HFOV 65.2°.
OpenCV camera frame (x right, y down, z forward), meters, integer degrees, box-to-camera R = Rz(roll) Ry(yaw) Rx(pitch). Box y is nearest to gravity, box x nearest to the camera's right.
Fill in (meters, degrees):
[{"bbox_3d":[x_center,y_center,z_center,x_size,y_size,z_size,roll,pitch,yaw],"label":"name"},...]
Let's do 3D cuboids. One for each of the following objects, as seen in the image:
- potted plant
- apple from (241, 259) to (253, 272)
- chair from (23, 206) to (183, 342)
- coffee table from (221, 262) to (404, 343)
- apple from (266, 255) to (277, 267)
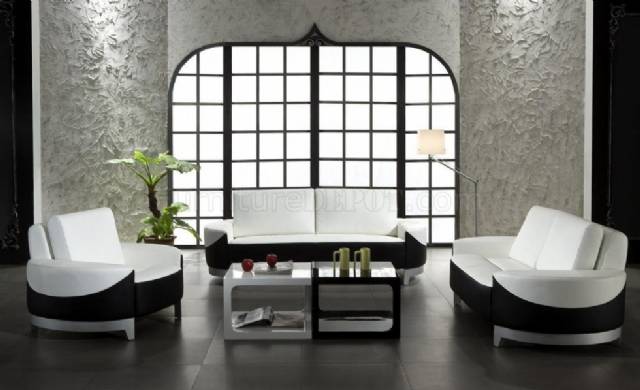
[{"bbox_3d":[-2.412,0.072,8.249,1.530,1.532,1.550,-3,-1,25],"label":"potted plant"},{"bbox_3d":[-0.804,0.787,5.595,0.122,0.131,0.123,1,-1,-7],"label":"apple"},{"bbox_3d":[-2.461,0.835,5.806,1.478,1.243,1.604,4,5,11],"label":"chair"},{"bbox_3d":[-0.083,1.129,5.661,1.918,0.693,1.002,-1,6,0],"label":"coffee table"},{"bbox_3d":[-0.532,0.734,5.590,0.120,0.128,0.120,0,0,-10],"label":"apple"}]
